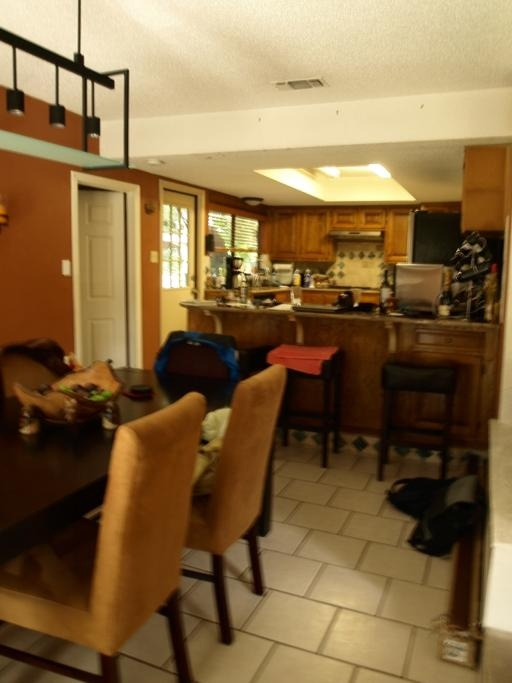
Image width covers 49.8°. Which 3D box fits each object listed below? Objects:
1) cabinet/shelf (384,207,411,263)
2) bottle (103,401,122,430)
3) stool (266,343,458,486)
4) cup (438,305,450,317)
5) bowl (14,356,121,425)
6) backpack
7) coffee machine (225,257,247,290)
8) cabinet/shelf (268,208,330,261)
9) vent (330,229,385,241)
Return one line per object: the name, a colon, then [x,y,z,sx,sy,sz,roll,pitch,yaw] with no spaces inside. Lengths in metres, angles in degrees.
cabinet/shelf: [1.863,-1.512,7.806,0.518,0.746,0.482,0,10,-8]
bottle: [-0.457,0.243,1.785,0.052,0.044,0.085,26,31,-26]
stool: [0.698,0.447,3.386,0.859,0.541,0.285,2,5,20]
cup: [1.193,-0.199,3.554,0.083,0.082,0.076,-3,4,0]
bowl: [-0.587,0.165,1.839,0.278,0.132,0.396,5,15,22]
backpack: [0.875,0.843,2.666,0.325,0.107,0.304,-5,42,7]
coffee machine: [-0.261,-0.844,6.756,0.225,0.407,0.433,1,7,-5]
cabinet/shelf: [0.578,-1.594,8.322,1.049,0.771,0.367,-5,11,-24]
vent: [1.440,-1.514,7.864,0.730,0.145,0.559,4,7,16]
